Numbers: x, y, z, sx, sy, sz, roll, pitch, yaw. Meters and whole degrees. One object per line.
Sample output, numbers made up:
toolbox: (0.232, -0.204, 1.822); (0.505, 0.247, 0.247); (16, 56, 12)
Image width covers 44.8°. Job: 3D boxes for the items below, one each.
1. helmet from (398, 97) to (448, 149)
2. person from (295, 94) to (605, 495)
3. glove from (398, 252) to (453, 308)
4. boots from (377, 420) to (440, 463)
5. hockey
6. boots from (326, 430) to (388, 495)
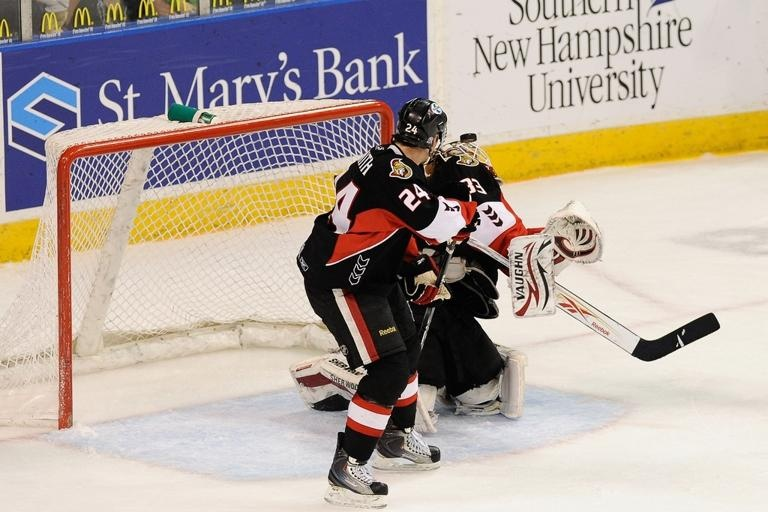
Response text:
helmet: (0.159, -0.551, 3.832); (0.186, 0.168, 0.230); (15, 12, 15)
person: (0.123, 0.144, 3.827); (1.021, 1.553, 0.477); (-9, 14, -30)
glove: (0.164, 0.088, 3.980); (0.229, 0.227, 0.098); (41, 10, -9)
boots: (0.089, 0.802, 3.902); (0.329, 0.171, 0.108); (11, -11, -20)
hockey: (1.034, 0.235, 4.692); (1.102, 0.106, 0.187); (27, 51, 3)
boots: (-0.104, 0.825, 3.658); (0.227, 0.240, 0.124); (0, 12, 6)
